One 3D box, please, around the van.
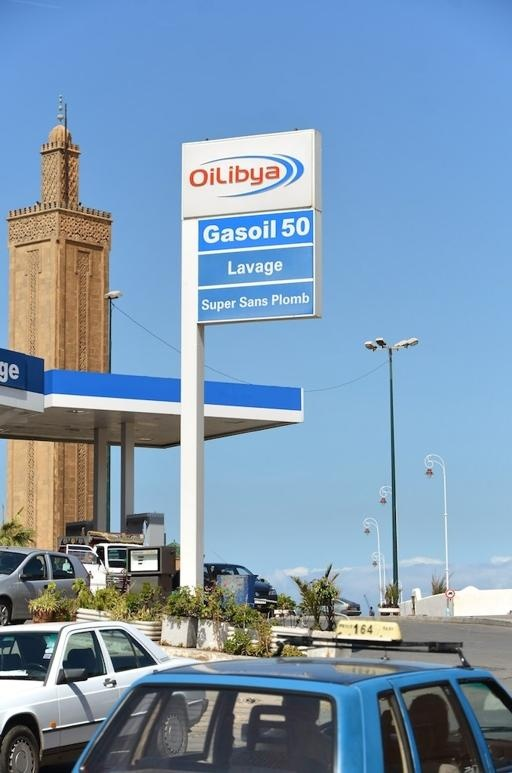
[{"bbox_3d":[-3.446,3.727,28.313,1.432,1.308,2.135,5,-11,-36],"label":"van"}]
